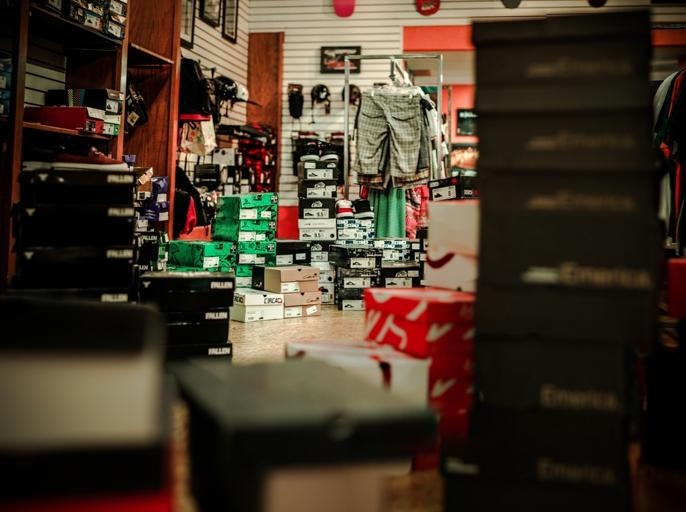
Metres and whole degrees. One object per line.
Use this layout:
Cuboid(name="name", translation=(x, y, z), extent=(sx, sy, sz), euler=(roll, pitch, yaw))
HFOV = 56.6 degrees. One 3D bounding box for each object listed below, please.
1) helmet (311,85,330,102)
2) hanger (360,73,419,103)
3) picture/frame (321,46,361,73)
Cuboid(name="helmet", translation=(-0.280, -2.062, 8.088), extent=(0.234, 0.232, 0.119), euler=(3, 4, -5))
Cuboid(name="hanger", translation=(0.499, -1.554, 6.003), extent=(0.360, 0.156, 0.501), euler=(3, 9, 21))
Cuboid(name="picture/frame", translation=(0.000, -2.489, 7.990), extent=(0.485, 0.365, 0.551), euler=(2, 5, -14))
